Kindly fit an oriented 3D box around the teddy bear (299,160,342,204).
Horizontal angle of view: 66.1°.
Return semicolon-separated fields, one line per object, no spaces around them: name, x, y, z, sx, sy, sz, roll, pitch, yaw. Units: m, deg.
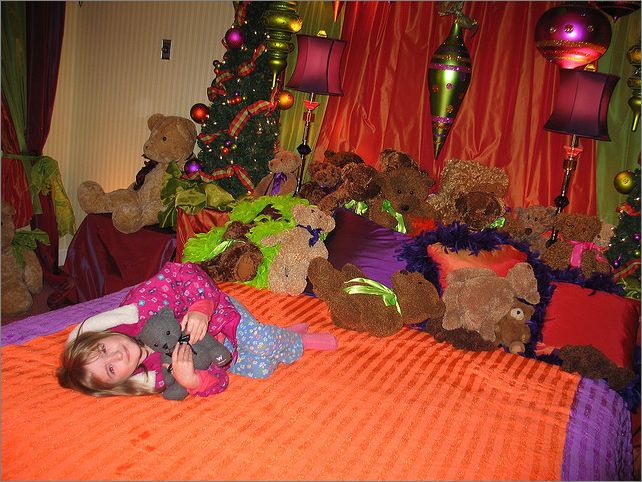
teddy bear;0.001;-0.345;2.896;0.237;0.316;0.170;13;12;12

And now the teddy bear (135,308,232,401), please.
teddy bear;-0.504;0.411;1.752;0.162;0.205;0.204;33;-5;41

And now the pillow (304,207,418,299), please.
pillow;0.242;0.045;2.509;0.401;0.435;0.115;22;-17;3

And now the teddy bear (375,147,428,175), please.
teddy bear;0.480;-0.471;2.882;0.127;0.091;0.235;6;15;-34

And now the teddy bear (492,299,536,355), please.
teddy bear;0.873;0.382;2.229;0.145;0.211;0.118;25;19;10

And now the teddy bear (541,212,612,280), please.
teddy bear;1.284;0.029;2.485;0.285;0.327;0.177;4;1;6

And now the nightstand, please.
nightstand;-1.426;0.182;3.350;0.650;0.500;0.659;32;30;17

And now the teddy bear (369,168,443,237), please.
teddy bear;0.455;-0.266;2.752;0.376;0.456;0.315;3;20;12

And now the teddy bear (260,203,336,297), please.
teddy bear;-0.120;0.045;2.483;0.381;0.443;0.159;27;-11;-4

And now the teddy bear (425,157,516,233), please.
teddy bear;0.791;-0.262;2.609;0.106;0.433;0.394;16;0;-42

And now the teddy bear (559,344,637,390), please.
teddy bear;1.218;0.584;2.211;0.283;0.179;0.094;13;-29;17

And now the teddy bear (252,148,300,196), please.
teddy bear;-0.294;-0.461;3.265;0.237;0.357;0.234;-12;37;-43

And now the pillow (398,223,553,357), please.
pillow;0.679;0.126;2.035;0.513;0.641;0.211;-3;-23;4

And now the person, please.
person;-0.494;0.261;1.806;0.438;0.347;0.698;18;21;31

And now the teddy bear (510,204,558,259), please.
teddy bear;1.190;-0.064;2.764;0.220;0.313;0.210;4;21;21
